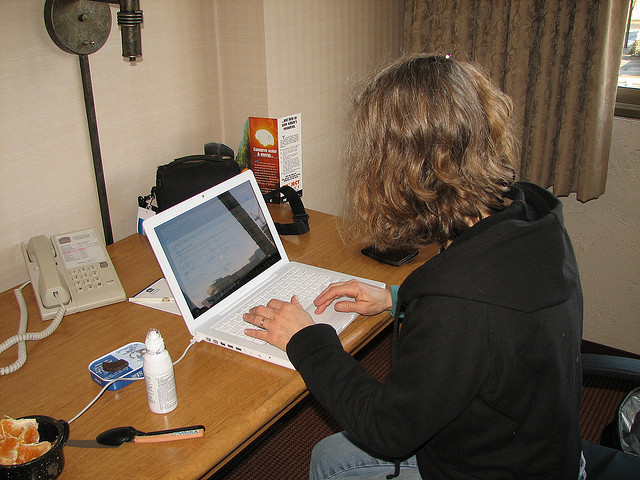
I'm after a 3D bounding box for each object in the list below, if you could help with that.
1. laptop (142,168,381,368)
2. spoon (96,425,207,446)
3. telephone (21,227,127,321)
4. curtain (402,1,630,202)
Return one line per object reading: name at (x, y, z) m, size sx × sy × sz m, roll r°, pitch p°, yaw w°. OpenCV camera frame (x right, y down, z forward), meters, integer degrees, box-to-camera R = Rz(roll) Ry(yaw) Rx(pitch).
laptop at (-0.139, 0.058, 1.291) m, size 0.493 × 0.285 × 0.464 m, roll 18°, pitch 31°, yaw 37°
spoon at (-0.345, 0.391, 0.973) m, size 0.235 × 0.015 × 0.068 m, roll -1°, pitch 15°, yaw -4°
telephone at (-0.712, 0.083, 1.391) m, size 0.246 × 0.080 × 0.293 m, roll -5°, pitch 46°, yaw -27°
curtain at (0.885, -0.660, 2.238) m, size 0.862 × 0.829 × 0.277 m, roll 14°, pitch 33°, yaw 33°
